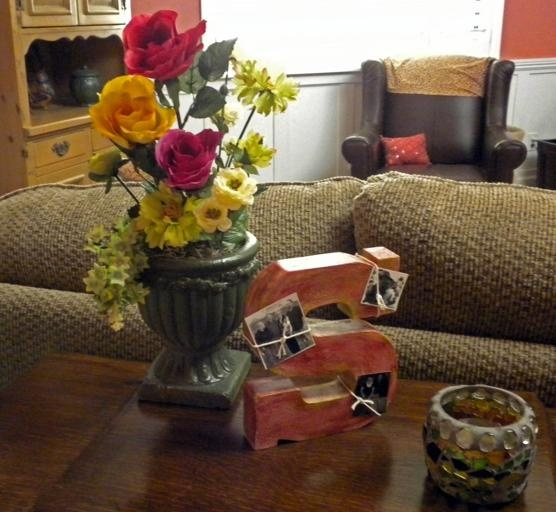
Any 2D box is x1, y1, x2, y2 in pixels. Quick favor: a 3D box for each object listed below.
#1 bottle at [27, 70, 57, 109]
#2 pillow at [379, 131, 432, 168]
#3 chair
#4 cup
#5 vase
[{"bbox_3d":[-1.410,-0.982,2.922,0.222,0.233,0.076,-1,-12,-16],"label":"bottle"},{"bbox_3d":[0.816,-0.663,3.125,0.332,0.203,0.103,-4,2,-2],"label":"pillow"},{"bbox_3d":[0.976,-0.705,3.161,1.031,0.996,0.857,3,35,12],"label":"chair"},{"bbox_3d":[0.218,0.209,0.597,0.152,0.095,0.133,-3,19,2],"label":"cup"},{"bbox_3d":[-0.132,0.103,0.774,0.206,0.200,0.192,-2,5,-26],"label":"vase"}]
